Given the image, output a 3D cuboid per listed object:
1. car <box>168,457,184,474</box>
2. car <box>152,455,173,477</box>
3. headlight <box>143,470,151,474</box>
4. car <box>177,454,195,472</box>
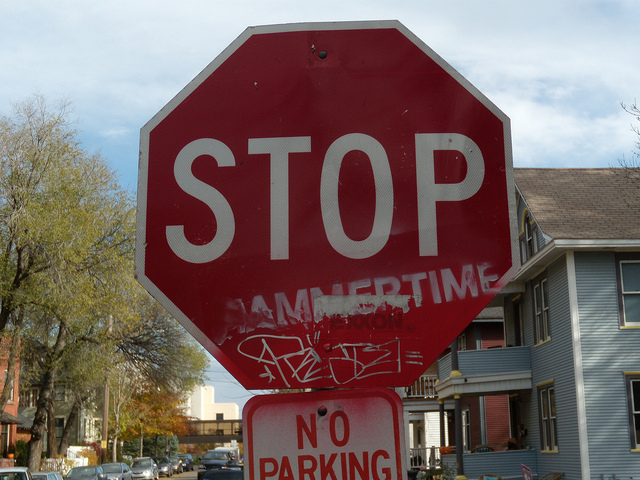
[{"bbox_3d":[-9.204,14.182,61.093,0.733,0.817,1.871,0,-19,0],"label":"car"},{"bbox_3d":[-9.273,13.309,57.137,0.788,0.839,1.987,0,-24,-1],"label":"car"},{"bbox_3d":[-8.447,11.241,46.933,0.177,0.054,0.155,-6,-1,5],"label":"headlight"},{"bbox_3d":[-9.805,16.086,70.619,1.152,1.094,2.104,0,-23,2],"label":"car"}]
